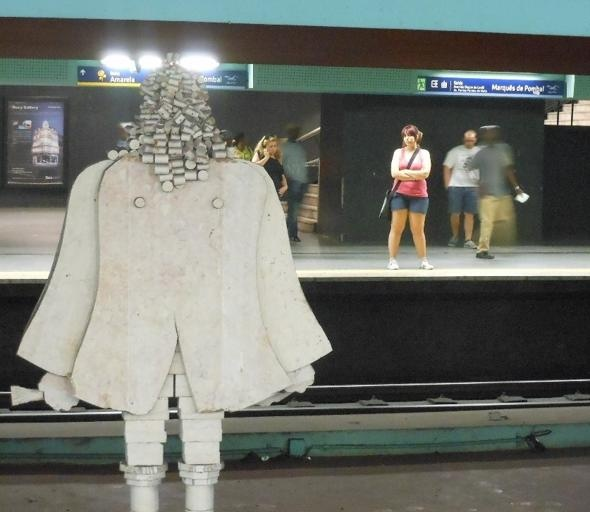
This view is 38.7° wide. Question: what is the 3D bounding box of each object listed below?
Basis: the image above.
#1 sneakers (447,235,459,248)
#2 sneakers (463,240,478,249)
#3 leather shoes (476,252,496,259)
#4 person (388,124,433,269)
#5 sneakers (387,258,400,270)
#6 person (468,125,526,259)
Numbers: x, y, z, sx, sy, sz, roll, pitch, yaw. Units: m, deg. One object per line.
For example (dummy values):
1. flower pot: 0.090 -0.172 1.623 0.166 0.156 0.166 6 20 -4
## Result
1. sneakers: 1.514 -0.138 8.067 0.120 0.134 0.078 2 -1 11
2. sneakers: 1.632 -0.111 7.817 0.051 0.071 0.142 5 6 42
3. leather shoes: 1.500 -0.017 6.629 0.105 0.054 0.064 1 5 13
4. person: 0.770 -0.406 5.574 0.292 0.940 0.637 0 4 8
5. sneakers: 0.635 0.047 5.453 0.046 0.068 0.147 0 -3 -1
6. person: 1.667 -0.517 6.943 0.433 1.006 1.846 1 4 14
